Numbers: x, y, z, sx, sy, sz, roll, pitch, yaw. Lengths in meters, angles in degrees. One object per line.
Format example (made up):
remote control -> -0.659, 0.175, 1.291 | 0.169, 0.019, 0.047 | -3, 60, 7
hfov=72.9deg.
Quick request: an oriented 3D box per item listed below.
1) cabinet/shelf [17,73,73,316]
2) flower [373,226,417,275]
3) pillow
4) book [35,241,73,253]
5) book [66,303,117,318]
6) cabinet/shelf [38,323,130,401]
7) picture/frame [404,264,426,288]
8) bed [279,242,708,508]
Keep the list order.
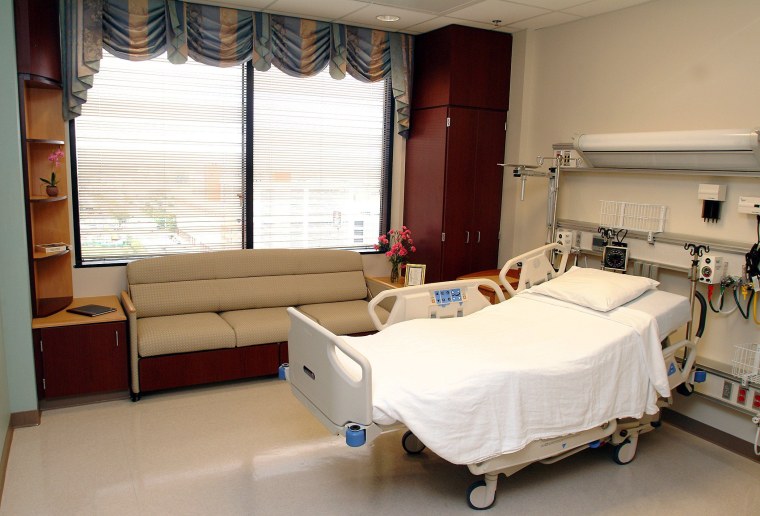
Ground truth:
cabinet/shelf -> -2.951, -0.513, 4.570 | 0.416, 1.998, 0.768 | -7, 13, -29
flower -> 0.187, -0.123, 6.166 | 0.520, 0.735, 0.535 | -2, 6, -18
pillow -> 1.726, 0.247, 4.117 | 0.504, 0.128, 0.531 | -9, 12, 24
book -> -2.950, -0.090, 4.639 | 0.257, 0.069, 0.337 | -6, 11, -28
book -> -2.625, 0.467, 4.682 | 0.381, 0.054, 0.272 | 5, 11, 28
cabinet/shelf -> -2.611, 0.876, 4.482 | 0.662, 0.629, 0.273 | -2, 3, -24
picture/frame -> 0.360, 0.180, 5.259 | 0.225, 0.280, 0.029 | 2, 9, 1
bed -> 0.841, 0.864, 3.941 | 2.854, 1.594, 1.569 | -7, 12, -33
